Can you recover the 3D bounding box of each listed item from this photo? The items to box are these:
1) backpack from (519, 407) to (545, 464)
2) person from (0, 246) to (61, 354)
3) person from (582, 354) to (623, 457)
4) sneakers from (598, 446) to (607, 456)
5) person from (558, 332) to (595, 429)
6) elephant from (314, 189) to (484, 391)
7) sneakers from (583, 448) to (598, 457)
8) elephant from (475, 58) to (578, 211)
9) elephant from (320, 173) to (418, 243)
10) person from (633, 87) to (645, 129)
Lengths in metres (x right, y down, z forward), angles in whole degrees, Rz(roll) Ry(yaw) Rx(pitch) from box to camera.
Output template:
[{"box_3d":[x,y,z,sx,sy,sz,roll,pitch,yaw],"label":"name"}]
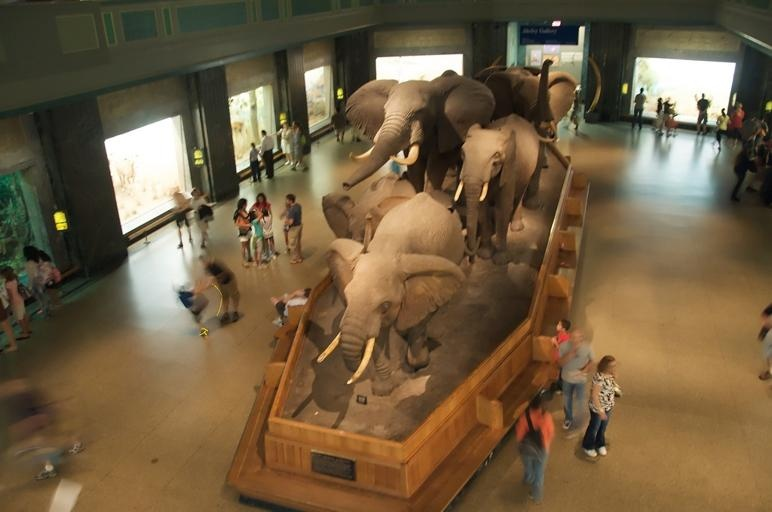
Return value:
[{"box_3d":[1.860,2.439,6.606,0.543,0.322,0.532,-26,38,36],"label":"backpack"},{"box_3d":[-7.352,0.635,10.089,1.148,1.772,1.022,16,24,39],"label":"person"},{"box_3d":[3.204,2.300,7.229,0.541,1.650,0.575,16,44,29],"label":"person"},{"box_3d":[3.216,2.922,7.219,0.067,0.079,0.190,-9,1,12],"label":"sneakers"},{"box_3d":[2.866,1.898,7.359,0.484,1.583,0.486,3,9,29],"label":"person"},{"box_3d":[0.167,0.626,6.825,1.565,1.783,3.165,12,56,22],"label":"elephant"},{"box_3d":[3.034,2.939,7.200,0.090,0.079,0.174,-17,7,-15],"label":"sneakers"},{"box_3d":[3.400,-4.082,12.035,2.110,2.520,4.008,8,36,15],"label":"elephant"},{"box_3d":[-0.390,-1.046,9.940,2.081,0.856,1.353,-16,-3,10],"label":"elephant"},{"box_3d":[10.486,-6.172,20.145,0.407,1.678,1.291,9,21,26],"label":"person"}]
